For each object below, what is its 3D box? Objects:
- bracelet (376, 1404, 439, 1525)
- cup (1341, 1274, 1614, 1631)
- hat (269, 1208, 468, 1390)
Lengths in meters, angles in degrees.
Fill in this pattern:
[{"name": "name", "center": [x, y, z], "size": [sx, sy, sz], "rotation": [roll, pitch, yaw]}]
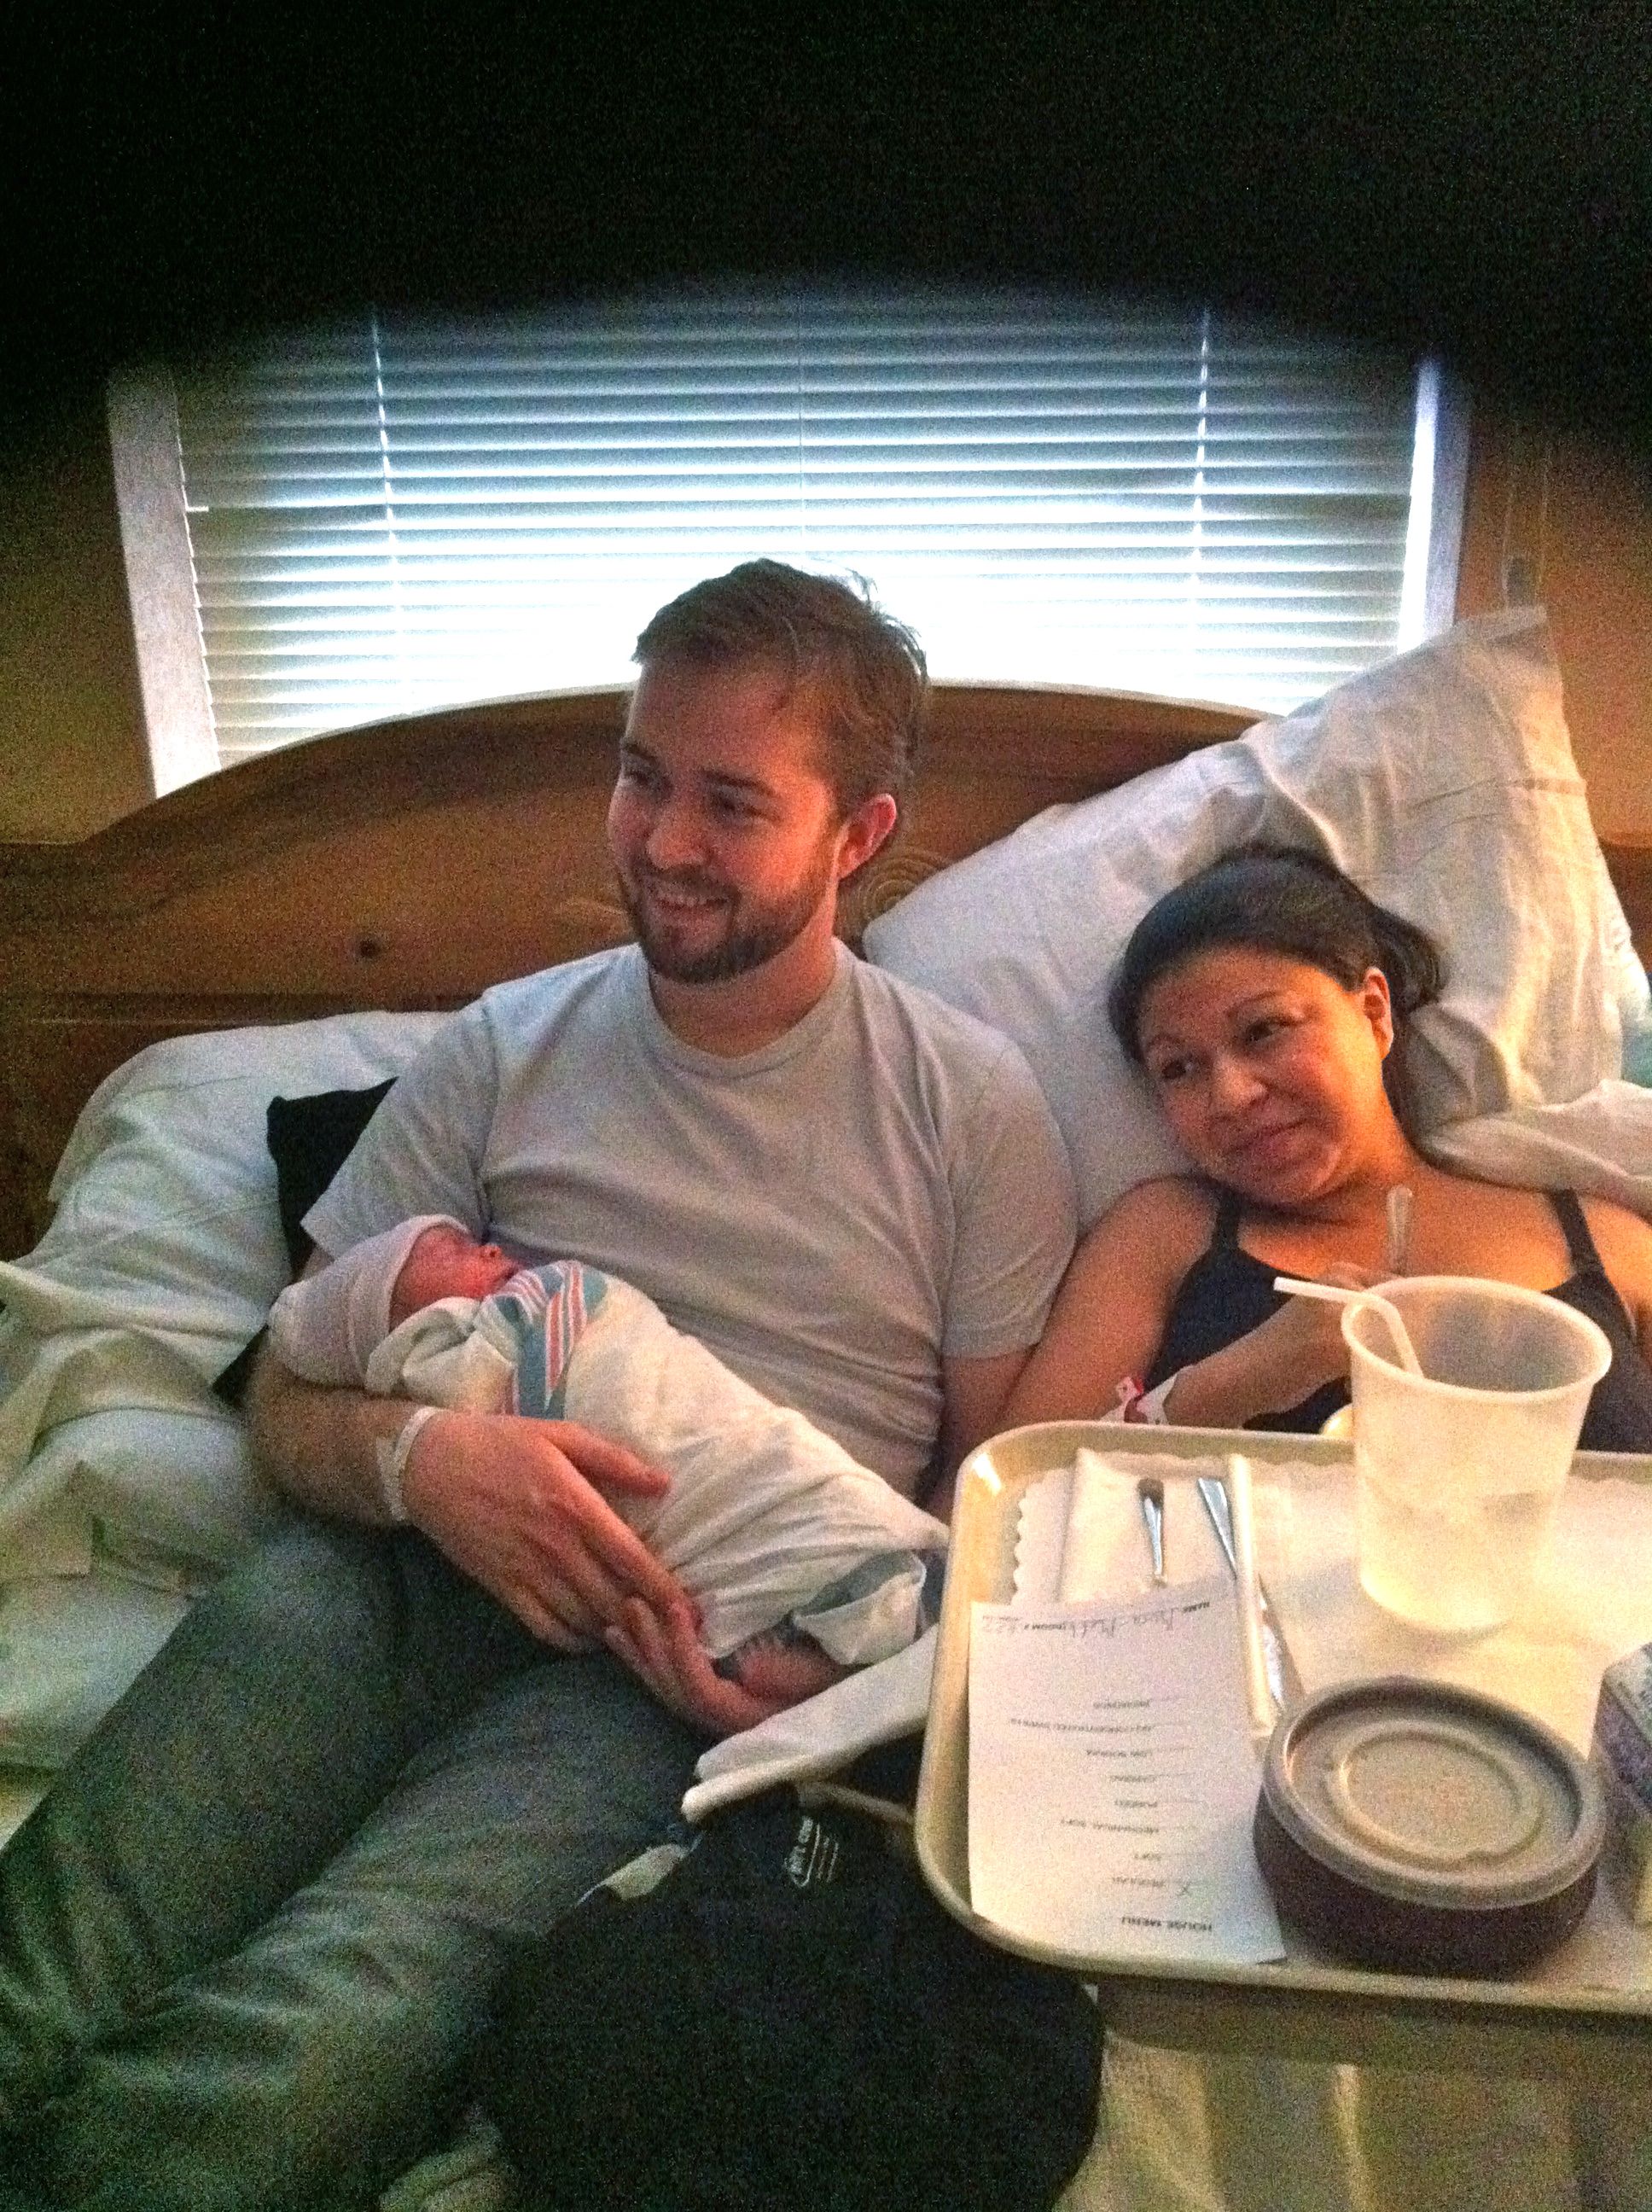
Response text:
[{"name": "bracelet", "center": [-0.293, 0.245, 1.280], "size": [0.030, 0.061, 0.049], "rotation": [3, -3, -28]}, {"name": "cup", "center": [0.267, 0.146, 0.765], "size": [0.095, 0.108, 0.101], "rotation": [-1, 22, 0]}, {"name": "hat", "center": [-0.355, 0.159, 1.429], "size": [0.137, 0.072, 0.099], "rotation": [-28, 29, 3]}]
